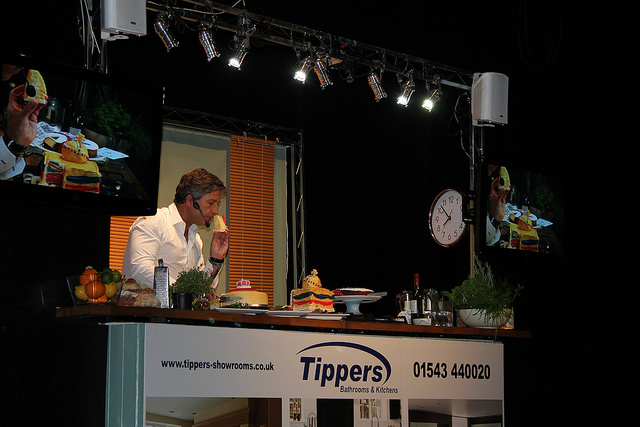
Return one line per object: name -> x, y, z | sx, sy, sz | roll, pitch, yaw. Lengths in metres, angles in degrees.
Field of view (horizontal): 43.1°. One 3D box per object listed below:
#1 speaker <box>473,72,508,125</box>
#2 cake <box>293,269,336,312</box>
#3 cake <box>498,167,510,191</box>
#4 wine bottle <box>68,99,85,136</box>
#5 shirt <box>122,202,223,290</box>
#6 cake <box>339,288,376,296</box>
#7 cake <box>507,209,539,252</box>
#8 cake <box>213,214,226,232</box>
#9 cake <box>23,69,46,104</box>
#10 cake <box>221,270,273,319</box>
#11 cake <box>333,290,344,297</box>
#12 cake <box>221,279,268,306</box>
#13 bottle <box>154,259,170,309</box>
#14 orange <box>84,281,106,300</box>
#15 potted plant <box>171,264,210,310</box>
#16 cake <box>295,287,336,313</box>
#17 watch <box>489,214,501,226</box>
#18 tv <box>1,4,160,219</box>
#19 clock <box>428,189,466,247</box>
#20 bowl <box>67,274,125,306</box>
speaker -> 1.557, -1.050, 7.420 | 0.276, 0.472, 0.322 | 1, -2, 32
cake -> -0.010, 0.515, 6.044 | 0.288, 0.283, 0.332 | 0, -43, 12
cake -> 1.676, -0.310, 7.330 | 0.127, 0.194, 0.058 | 1, 5, -35
wine bottle -> -1.679, -0.667, 5.597 | 0.105, 0.250, 0.046 | 6, -8, -20
shirt -> -1.121, 0.246, 6.109 | 0.341, 0.508, 0.469 | 14, -15, 32
cake -> 0.288, 0.623, 6.365 | 0.242, 0.062, 0.084 | 2, -9, 9
cake -> 1.891, 0.172, 7.505 | 0.250, 0.395, 0.374 | 2, -5, -1
cake -> -0.778, 0.075, 6.284 | 0.084, 0.112, 0.090 | 4, -8, -8
cake -> -1.929, -0.858, 5.450 | 0.111, 0.231, 0.048 | -3, 10, -22
cake -> -0.547, 0.643, 5.857 | 0.291, 0.308, 0.307 | 1, -26, -17
cake -> 0.147, 0.630, 6.371 | 0.089, 0.070, 0.031 | -3, -7, 19
cake -> -0.536, 0.576, 5.816 | 0.325, 0.197, 0.272 | 7, -9, -22
bottle -> -1.055, 0.493, 5.427 | 0.113, 0.265, 0.075 | 5, -8, -17
orange -> -1.464, 0.508, 5.314 | 0.107, 0.140, 0.115 | 4, -11, 2
potted plant -> -0.873, 0.514, 5.467 | 0.258, 0.275, 0.173 | 5, -8, -12
cake -> -0.040, 0.669, 6.086 | 0.291, 0.168, 0.308 | 3, -11, -12
watch -> 1.570, 0.063, 7.254 | 0.095, 0.047, 0.073 | 36, 11, 15
tv -> -1.727, -0.692, 5.724 | 1.408, 1.500, 0.144 | 5, -11, -34
clock -> 1.210, 0.047, 7.646 | 0.454, 0.586, 0.094 | -6, -1, 26
bowl -> -1.477, 0.527, 5.376 | 0.234, 0.149, 0.219 | -1, -7, 0
